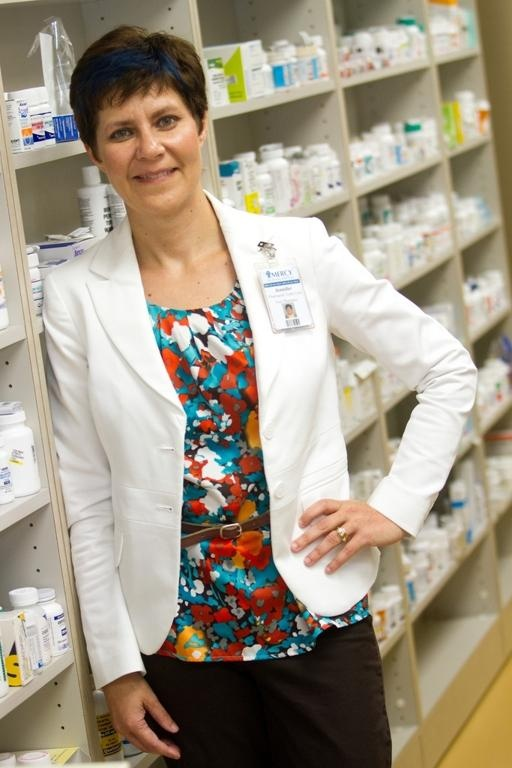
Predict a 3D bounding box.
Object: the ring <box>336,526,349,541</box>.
[{"bbox_3d":[0.134,0.233,0.925,0.018,0.025,0.009,-23,15,-37],"label":"ring"}]
